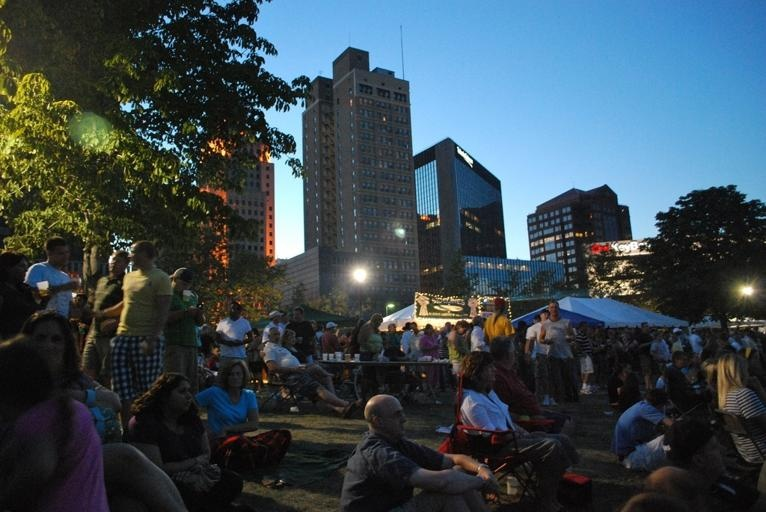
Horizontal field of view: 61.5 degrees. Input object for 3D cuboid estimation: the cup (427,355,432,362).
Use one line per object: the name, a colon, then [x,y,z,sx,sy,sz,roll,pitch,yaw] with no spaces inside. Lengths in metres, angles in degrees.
cup: [1.239,2.735,17.056,0.072,0.092,0.134,-10,-11,35]

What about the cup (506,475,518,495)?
cup: [1.826,3.282,9.164,0.193,0.204,0.189,-1,-15,0]

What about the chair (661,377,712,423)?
chair: [5.628,2.576,11.967,0.800,0.850,0.616,-1,-3,-9]

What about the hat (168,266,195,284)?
hat: [-3.610,0.342,11.435,0.481,0.293,0.362,7,2,36]

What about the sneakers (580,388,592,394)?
sneakers: [6.143,4.114,19.453,0.157,0.199,0.427,7,-21,-18]

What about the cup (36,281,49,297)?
cup: [-5.305,0.521,10.051,0.199,0.205,0.197,-7,-17,-2]

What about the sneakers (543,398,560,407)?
sneakers: [4.219,3.646,15.994,0.396,0.277,0.158,-2,-5,-4]
